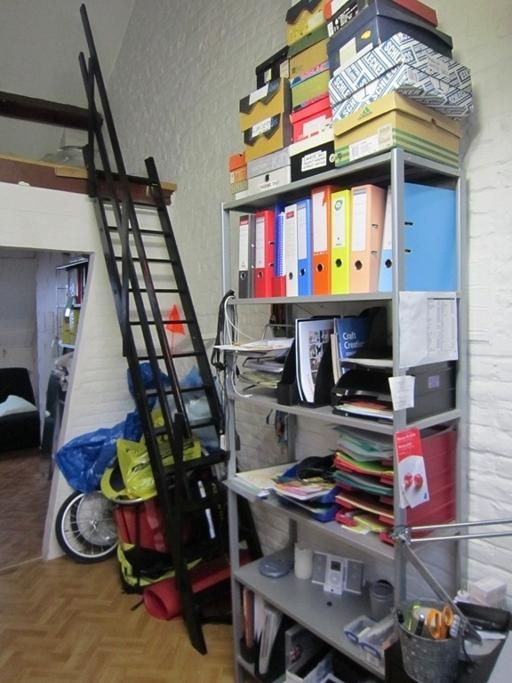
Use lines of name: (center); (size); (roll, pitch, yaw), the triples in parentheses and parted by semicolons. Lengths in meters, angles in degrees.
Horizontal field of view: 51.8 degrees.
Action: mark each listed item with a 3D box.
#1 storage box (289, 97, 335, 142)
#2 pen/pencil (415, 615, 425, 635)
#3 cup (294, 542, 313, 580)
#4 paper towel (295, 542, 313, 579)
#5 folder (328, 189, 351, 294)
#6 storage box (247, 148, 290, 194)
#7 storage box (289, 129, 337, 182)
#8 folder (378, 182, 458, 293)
storage box: (0.168, -0.640, 1.561); (0.101, 0.068, 0.107); (-20, 0, 11)
pen/pencil: (0.347, 0.601, 1.118); (0.014, 0.031, 0.023); (2, 4, 35)
cup: (0.170, 0.785, 1.874); (0.068, 0.091, 0.089); (-1, -6, 13)
paper towel: (0.170, 0.786, 1.925); (0.066, 0.093, 0.089); (-1, -7, 15)
folder: (0.231, -0.269, 1.452); (0.025, 0.273, 0.083); (-2, 3, -26)
storage box: (0.040, -0.520, 1.693); (0.109, 0.085, 0.147); (-7, 8, -40)
storage box: (0.170, -0.536, 1.543); (0.093, 0.119, 0.170); (-8, 8, -37)
folder: (0.456, -0.272, 1.386); (0.066, 0.279, 0.273); (2, 4, 37)
